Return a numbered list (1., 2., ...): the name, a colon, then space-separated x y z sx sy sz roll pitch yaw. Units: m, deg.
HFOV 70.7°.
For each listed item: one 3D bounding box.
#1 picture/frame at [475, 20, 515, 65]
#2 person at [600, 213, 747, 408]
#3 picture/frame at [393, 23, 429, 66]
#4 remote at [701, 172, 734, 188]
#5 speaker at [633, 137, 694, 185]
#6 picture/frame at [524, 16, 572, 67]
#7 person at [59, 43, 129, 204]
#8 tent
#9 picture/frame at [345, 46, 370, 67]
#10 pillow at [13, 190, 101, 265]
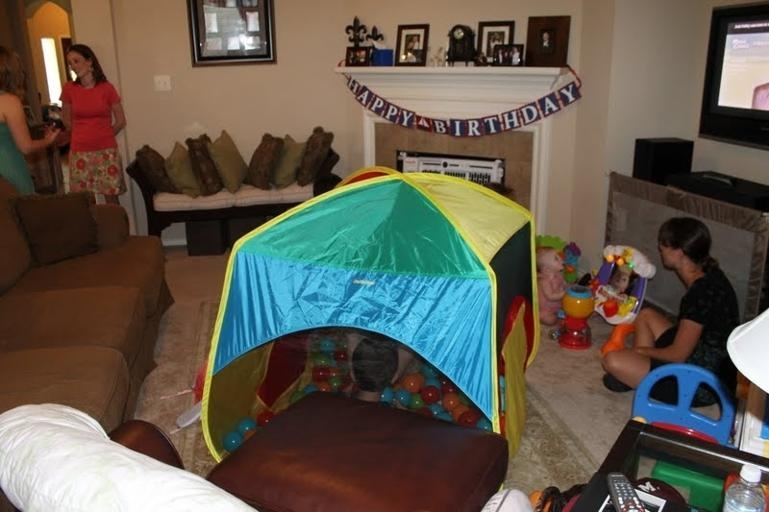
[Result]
1. picture/frame: 0.936 -1.809 4.573 0.290 0.367 0.028 2 -13 4
2. person: 1.536 0.323 2.817 0.521 0.997 0.600 -17 25 -35
3. picture/frame: 0.247 -1.889 4.823 0.360 0.454 0.033 5 4 16
4. remote: 2.214 -0.518 3.599 0.155 0.031 0.323 -3 21 -4
5. speaker: 2.045 -0.703 3.974 0.324 0.328 0.198 -7 21 -15
6. picture/frame: 1.330 -1.740 4.363 0.386 0.470 0.063 7 9 30
7. person: -2.470 -1.129 4.532 0.471 1.193 0.241 -3 20 -5
8. tent: 0.068 0.143 2.895 1.841 1.133 1.896 -1 17 -7
9. picture/frame: -0.240 -1.817 4.900 0.182 0.171 0.066 7 17 20
10. pillow: -2.033 -0.193 3.397 0.118 0.427 0.401 -4 1 39
